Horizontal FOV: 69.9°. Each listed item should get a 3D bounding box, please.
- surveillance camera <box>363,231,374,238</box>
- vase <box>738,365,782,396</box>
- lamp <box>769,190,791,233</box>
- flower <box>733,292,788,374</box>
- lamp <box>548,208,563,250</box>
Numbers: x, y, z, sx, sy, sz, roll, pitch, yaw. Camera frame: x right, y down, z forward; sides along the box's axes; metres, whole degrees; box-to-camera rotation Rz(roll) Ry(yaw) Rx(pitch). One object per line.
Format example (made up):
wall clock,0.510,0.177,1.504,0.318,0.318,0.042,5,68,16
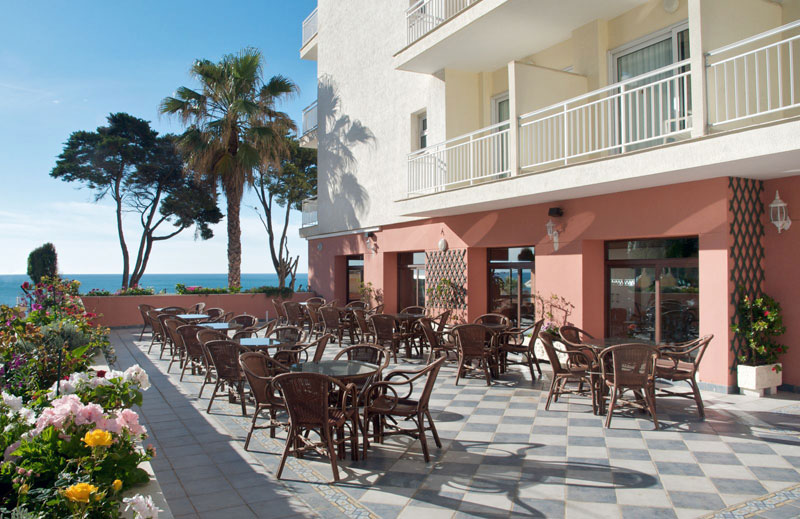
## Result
surveillance camera,-1.025,-0.833,19.528,0.215,0.162,0.217,1,-3,-30
vase,6.894,2.254,11.007,1.000,0.701,0.532,2,-4,-32
lamp,7.329,-0.906,11.077,0.279,0.796,0.435,-7,13,-31
flower,6.898,1.352,10.990,1.058,1.332,0.572,-4,12,-20
lamp,3.670,-0.725,13.466,0.369,1.013,0.220,5,12,27
